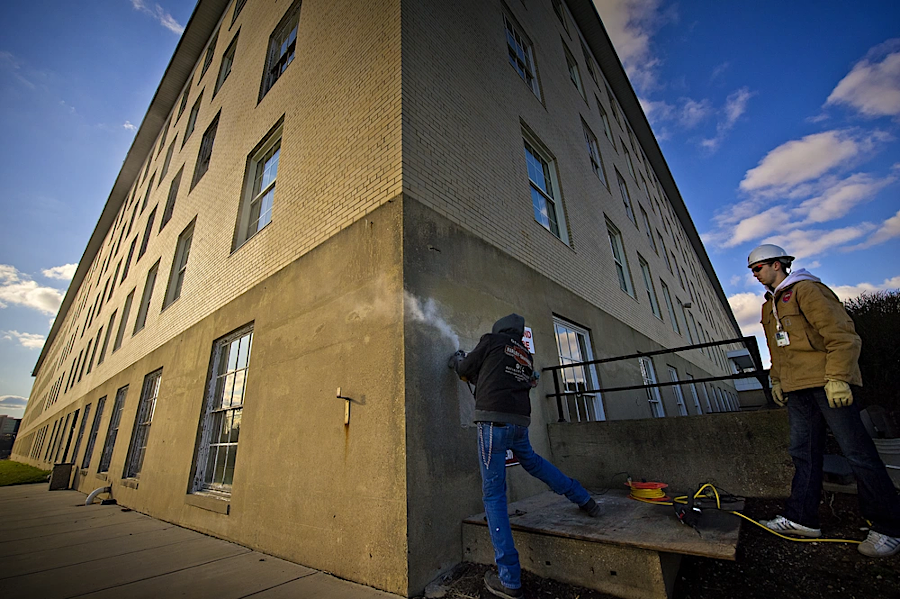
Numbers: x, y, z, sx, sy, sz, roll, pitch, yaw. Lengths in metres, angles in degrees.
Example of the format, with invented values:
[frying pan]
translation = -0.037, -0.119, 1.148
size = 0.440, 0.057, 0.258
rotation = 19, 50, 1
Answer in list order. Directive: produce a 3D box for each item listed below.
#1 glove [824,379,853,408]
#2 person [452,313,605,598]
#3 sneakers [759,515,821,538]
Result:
[glove]
translation = 4.035, 1.018, 4.016
size = 0.217, 0.122, 0.310
rotation = -12, -30, -10
[person]
translation = 0.740, 1.653, 4.335
size = 1.267, 2.984, 0.657
rotation = -2, -22, 0
[sneakers]
translation = 3.761, 2.543, 4.219
size = 0.509, 0.211, 0.191
rotation = -6, -25, 37
